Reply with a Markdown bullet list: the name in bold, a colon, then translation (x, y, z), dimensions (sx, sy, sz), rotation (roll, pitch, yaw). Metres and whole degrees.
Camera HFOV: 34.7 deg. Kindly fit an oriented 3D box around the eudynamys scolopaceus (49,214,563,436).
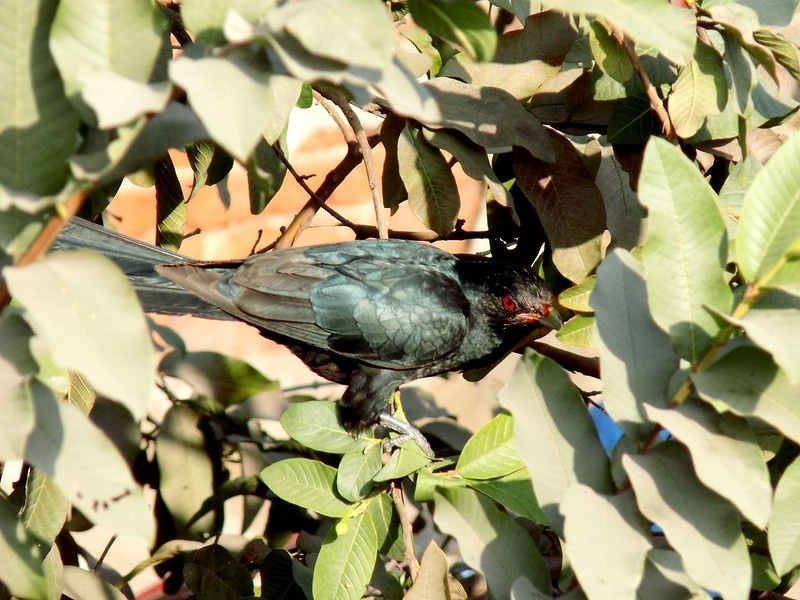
- **eudynamys scolopaceus**: translation (-0.387, 0.050, 4.953), dimensions (1.926, 0.708, 0.566), rotation (12, 25, 6)
